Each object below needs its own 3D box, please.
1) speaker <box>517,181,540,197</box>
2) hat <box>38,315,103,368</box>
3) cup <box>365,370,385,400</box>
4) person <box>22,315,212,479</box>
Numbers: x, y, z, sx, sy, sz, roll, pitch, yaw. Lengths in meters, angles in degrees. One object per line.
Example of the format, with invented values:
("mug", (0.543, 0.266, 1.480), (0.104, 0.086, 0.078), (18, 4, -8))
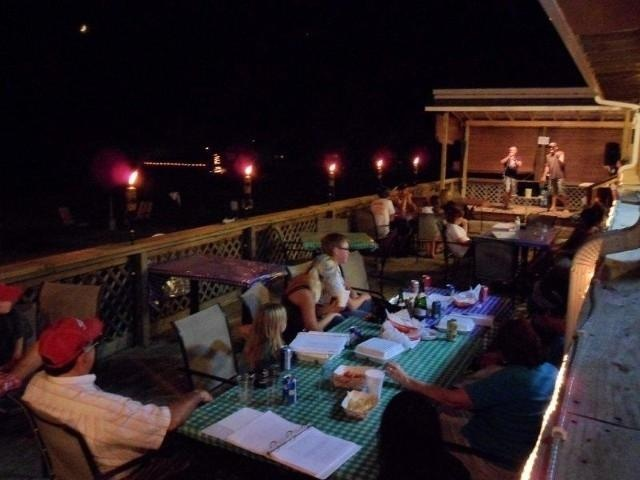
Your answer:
("speaker", (7.214, -1.769, 16.809), (0.594, 0.367, 0.629), (6, 11, 42))
("hat", (-1.501, 0.606, 2.988), (0.225, 0.249, 0.393), (5, 15, 18))
("cup", (0.379, 0.978, 3.322), (0.167, 0.166, 0.164), (-2, 8, 0))
("person", (-1.486, 1.169, 3.548), (0.906, 1.163, 0.680), (21, 44, 21))
